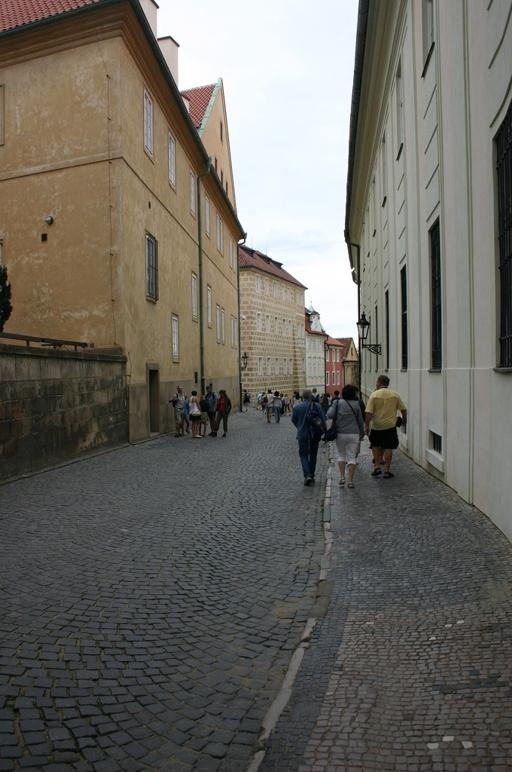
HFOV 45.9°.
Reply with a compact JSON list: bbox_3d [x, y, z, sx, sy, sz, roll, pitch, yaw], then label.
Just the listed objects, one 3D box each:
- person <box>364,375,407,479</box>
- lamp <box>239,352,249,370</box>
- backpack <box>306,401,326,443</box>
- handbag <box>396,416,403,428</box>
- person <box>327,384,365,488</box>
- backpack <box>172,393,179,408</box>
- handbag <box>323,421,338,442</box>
[{"bbox_3d":[1.968,0.635,9.261,0.393,1.656,0.401,0,-19,15],"label":"person"},{"bbox_3d":[-0.987,-2.033,48.082,0.601,1.486,0.949,0,-3,2],"label":"lamp"},{"bbox_3d":[0.910,0.556,9.237,0.266,0.970,0.502,-1,4,4],"label":"backpack"},{"bbox_3d":[2.141,0.558,9.102,0.084,0.285,0.120,-2,15,10],"label":"handbag"},{"bbox_3d":[1.329,0.723,8.938,0.536,1.466,1.077,-1,-1,17],"label":"person"},{"bbox_3d":[-2.628,0.546,19.529,0.205,0.508,0.382,0,23,-3],"label":"backpack"},{"bbox_3d":[1.086,0.690,8.855,0.136,0.487,0.267,3,2,15],"label":"handbag"}]
